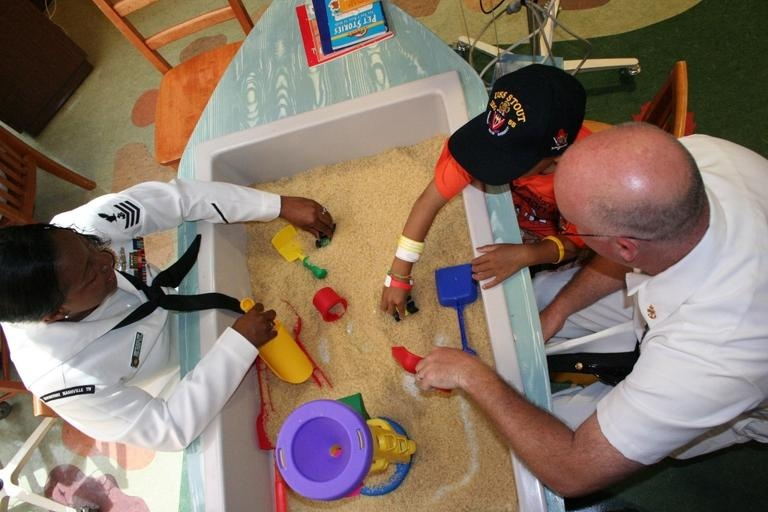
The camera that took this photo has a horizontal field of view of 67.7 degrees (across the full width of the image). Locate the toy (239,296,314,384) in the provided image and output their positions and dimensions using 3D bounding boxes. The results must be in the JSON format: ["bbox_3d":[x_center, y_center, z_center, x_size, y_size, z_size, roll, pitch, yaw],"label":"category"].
[{"bbox_3d":[-0.392,0.318,2.106,0.163,0.094,0.385,-41,95,-12],"label":"toy"}]

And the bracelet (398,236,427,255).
[{"bbox_3d":[0.100,-0.034,2.012,0.070,0.071,0.057,22,103,-2],"label":"bracelet"}]

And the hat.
[{"bbox_3d":[0.427,-0.387,1.947,0.461,0.211,0.295,-28,77,1],"label":"hat"}]

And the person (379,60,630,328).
[{"bbox_3d":[0.463,-0.192,2.116,0.633,0.366,0.989,29,96,25],"label":"person"}]

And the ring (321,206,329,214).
[{"bbox_3d":[-0.221,-0.174,2.208,0.021,0.027,0.027,13,90,9],"label":"ring"}]

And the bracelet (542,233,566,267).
[{"bbox_3d":[0.609,-0.009,2.052,0.022,0.089,0.087,-10,68,-21],"label":"bracelet"}]

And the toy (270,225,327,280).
[{"bbox_3d":[-0.319,0.008,2.223,0.135,0.056,0.276,-41,79,-16],"label":"toy"}]

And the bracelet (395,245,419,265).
[{"bbox_3d":[0.083,-0.005,2.015,0.062,0.061,0.047,11,94,-5],"label":"bracelet"}]

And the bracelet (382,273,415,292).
[{"bbox_3d":[0.049,0.094,2.016,0.077,0.060,0.033,17,90,-8],"label":"bracelet"}]

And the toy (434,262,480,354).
[{"bbox_3d":[0.249,0.176,1.957,0.157,0.082,0.296,-8,84,14],"label":"toy"}]
